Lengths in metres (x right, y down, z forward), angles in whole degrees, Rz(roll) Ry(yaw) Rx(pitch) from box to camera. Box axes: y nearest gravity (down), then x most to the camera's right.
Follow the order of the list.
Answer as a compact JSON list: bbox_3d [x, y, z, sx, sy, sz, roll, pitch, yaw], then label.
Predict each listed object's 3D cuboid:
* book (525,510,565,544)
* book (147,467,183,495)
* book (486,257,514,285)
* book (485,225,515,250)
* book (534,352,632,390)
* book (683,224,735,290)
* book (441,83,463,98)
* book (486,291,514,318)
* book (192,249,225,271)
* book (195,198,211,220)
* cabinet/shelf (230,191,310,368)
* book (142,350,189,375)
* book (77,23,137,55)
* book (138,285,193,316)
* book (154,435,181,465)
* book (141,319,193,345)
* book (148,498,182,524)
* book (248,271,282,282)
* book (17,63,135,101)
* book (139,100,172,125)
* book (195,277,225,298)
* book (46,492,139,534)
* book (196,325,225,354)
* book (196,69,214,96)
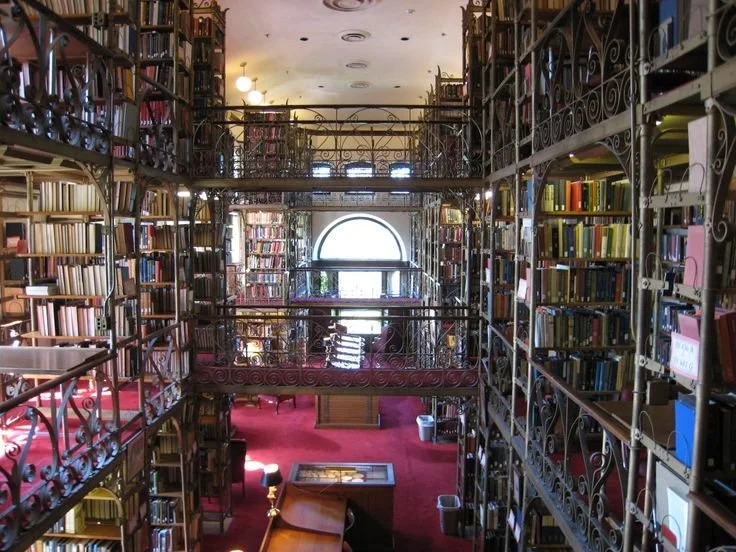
[{"bbox_3d":[1.893,2.742,6.911,0.293,0.436,0.463,0,-89,3],"label":"book"},{"bbox_3d":[-2.600,2.651,8.333,0.308,0.126,0.333,-2,-6,11],"label":"book"},{"bbox_3d":[1.615,-0.055,7.803,0.263,0.398,0.427,2,-87,8],"label":"book"},{"bbox_3d":[1.697,-0.474,8.289,0.296,0.459,0.478,0,-83,3],"label":"book"},{"bbox_3d":[2.253,0.966,6.568,0.518,0.546,0.225,0,-87,4],"label":"book"},{"bbox_3d":[2.134,-0.117,4.215,0.336,0.394,0.393,1,-84,4],"label":"book"},{"bbox_3d":[1.522,-3.325,11.635,0.343,0.275,0.392,5,-76,16],"label":"book"},{"bbox_3d":[1.623,0.366,7.853,0.249,0.405,0.382,1,-3,5],"label":"book"},{"bbox_3d":[-2.241,-0.194,8.940,0.249,0.365,0.381,-1,-88,3],"label":"book"},{"bbox_3d":[-2.327,-0.899,9.046,0.211,0.320,0.333,0,-86,-5],"label":"book"},{"bbox_3d":[-1.764,0.101,14.688,1.302,3.902,3.586,-7,3,-37],"label":"cabinet/shelf"},{"bbox_3d":[-2.472,1.065,7.892,0.384,0.180,0.502,0,1,-13],"label":"book"},{"bbox_3d":[-2.588,-2.323,6.325,0.250,0.513,0.376,-2,-63,-6],"label":"book"},{"bbox_3d":[-2.582,0.328,8.124,0.447,0.477,0.391,2,-78,-10],"label":"book"},{"bbox_3d":[-2.591,2.203,8.504,0.289,0.459,0.436,-1,-1,7],"label":"book"},{"bbox_3d":[-2.519,0.673,8.161,0.443,0.375,0.177,0,-89,-4],"label":"book"},{"bbox_3d":[-2.583,3.011,8.241,0.284,0.447,0.420,-3,-4,5],"label":"book"},{"bbox_3d":[-2.337,0.012,14.823,0.672,0.268,0.259,1,-86,3],"label":"book"},{"bbox_3d":[-2.769,-1.812,6.031,0.722,0.042,0.302,2,-80,1],"label":"book"},{"bbox_3d":[-2.602,-2.001,7.873,0.382,0.447,0.101,-1,-2,-10],"label":"book"},{"bbox_3d":[-2.224,0.153,8.928,0.246,0.374,0.389,0,-85,-9],"label":"book"},{"bbox_3d":[-3.122,2.702,7.453,0.836,0.337,0.900,0,-6,0],"label":"book"},{"bbox_3d":[-2.224,0.896,9.036,0.340,0.132,0.372,2,-80,3],"label":"book"},{"bbox_3d":[-2.247,-2.639,8.966,0.256,0.386,0.403,0,-77,0],"label":"book"}]
